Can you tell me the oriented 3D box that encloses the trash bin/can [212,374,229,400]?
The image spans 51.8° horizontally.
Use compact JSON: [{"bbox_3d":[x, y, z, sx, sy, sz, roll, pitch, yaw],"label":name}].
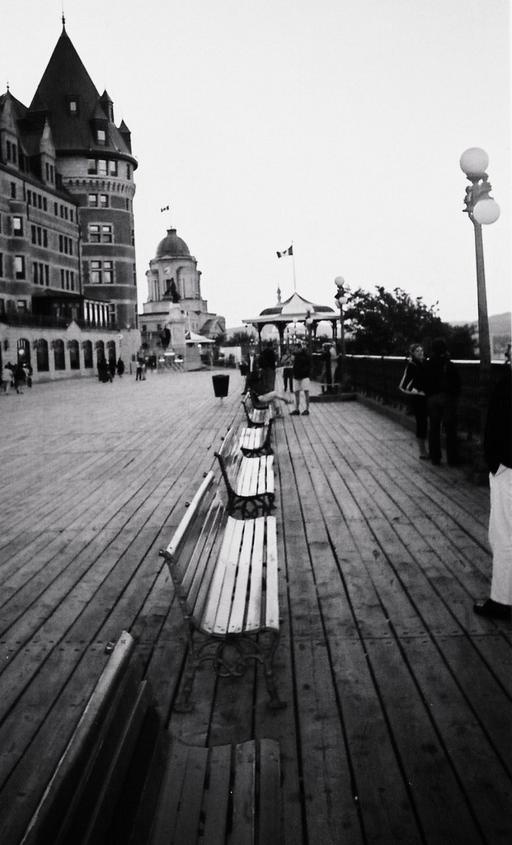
[{"bbox_3d":[-1.797,-1.880,26.862,0.706,1.780,1.014,0,0,4],"label":"trash bin/can"}]
